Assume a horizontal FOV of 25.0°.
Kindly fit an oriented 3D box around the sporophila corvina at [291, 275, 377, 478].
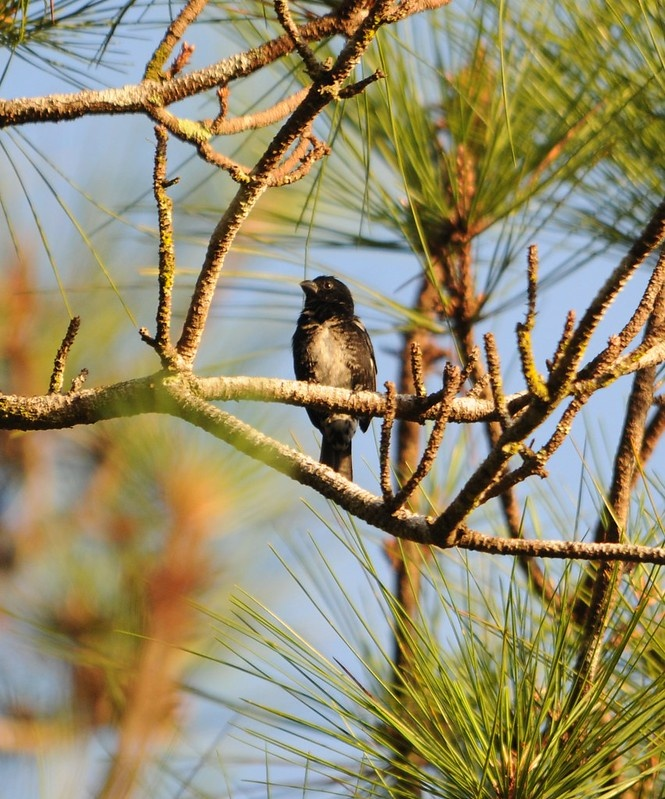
[{"bbox_3d":[0.021,-0.192,6.224,0.262,0.410,1.006,-5,-73,11],"label":"sporophila corvina"}]
